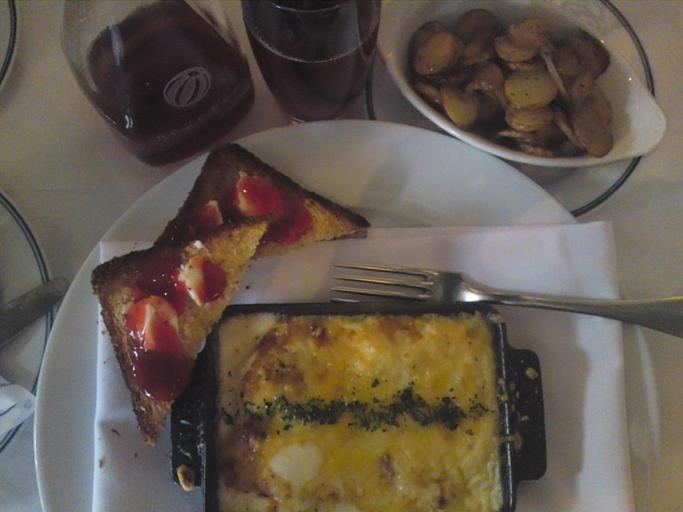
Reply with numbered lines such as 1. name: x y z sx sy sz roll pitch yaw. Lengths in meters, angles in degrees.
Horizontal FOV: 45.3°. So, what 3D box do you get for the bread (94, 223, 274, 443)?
1. bread: -0.400 0.162 2.274 0.491 0.249 0.421 -25 56 -10
